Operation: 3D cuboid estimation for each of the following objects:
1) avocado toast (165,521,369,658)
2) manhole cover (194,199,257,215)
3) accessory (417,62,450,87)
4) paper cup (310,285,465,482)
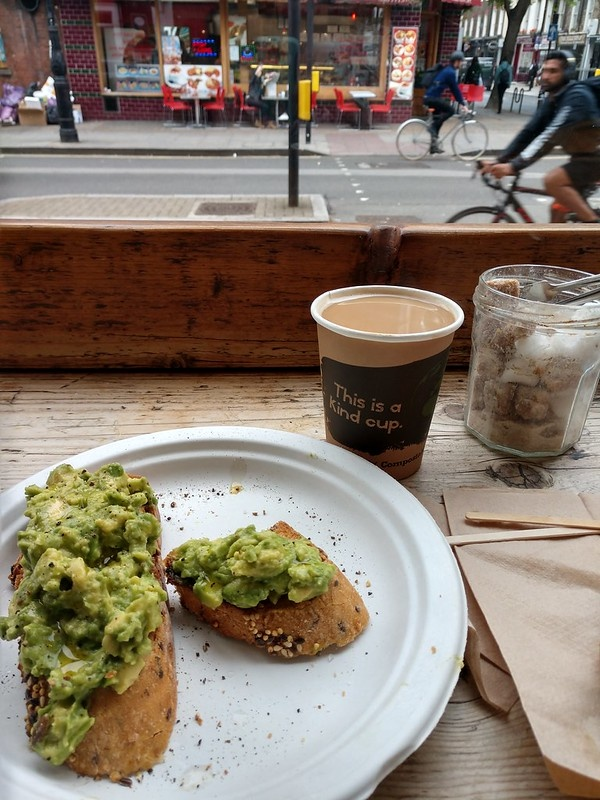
[{"bbox_3d":[-0.031,0.173,0.640,0.191,0.062,0.137,9,24,11],"label":"avocado toast"},{"bbox_3d":[-0.122,-0.315,1.072,0.073,0.009,0.037,3,59,2],"label":"manhole cover"},{"bbox_3d":[0.194,-0.465,0.931,0.022,0.040,0.028,34,21,-37],"label":"accessory"},{"bbox_3d":[0.103,-0.021,0.855,0.214,0.207,0.184,-5,28,-12],"label":"paper cup"}]
